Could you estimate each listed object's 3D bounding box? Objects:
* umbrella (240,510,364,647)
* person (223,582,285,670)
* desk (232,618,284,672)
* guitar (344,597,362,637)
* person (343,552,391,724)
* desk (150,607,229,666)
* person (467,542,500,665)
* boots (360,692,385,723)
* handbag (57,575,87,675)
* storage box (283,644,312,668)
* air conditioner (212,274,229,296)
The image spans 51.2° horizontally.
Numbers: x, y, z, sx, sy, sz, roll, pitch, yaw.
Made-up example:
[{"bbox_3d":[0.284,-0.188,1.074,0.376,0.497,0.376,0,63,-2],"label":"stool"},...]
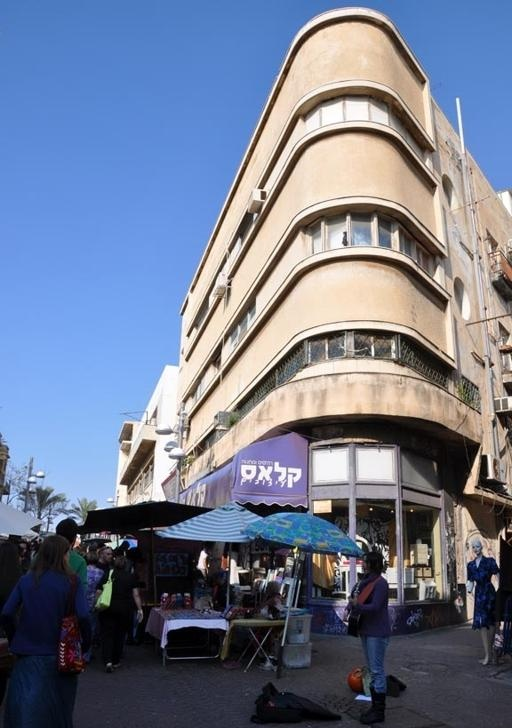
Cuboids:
[{"bbox_3d":[0.640,3.158,8.478,1.341,1.547,1.405,1,-3,38],"label":"umbrella"},{"bbox_3d":[-0.052,4.211,8.552,0.752,1.119,1.128,7,-21,-4],"label":"person"},{"bbox_3d":[0.046,4.575,8.626,0.519,0.639,1.017,-1,-33,0],"label":"desk"},{"bbox_3d":[1.033,2.725,5.655,0.097,0.471,0.237,-3,24,7],"label":"guitar"},{"bbox_3d":[1.146,2.731,5.427,0.418,1.567,0.751,1,-17,10],"label":"person"},{"bbox_3d":[-1.208,4.609,9.217,1.276,0.845,2.982,6,-18,-7],"label":"desk"},{"bbox_3d":[3.631,3.810,8.512,0.476,1.819,0.655,-3,-18,22],"label":"person"},{"bbox_3d":[1.123,3.282,5.077,0.249,0.315,0.256,6,-24,1],"label":"boots"},{"bbox_3d":[-1.083,1.533,3.129,0.142,0.571,0.244,-5,-41,-10],"label":"handbag"},{"bbox_3d":[0.638,4.501,8.353,0.347,0.284,0.369,2,-15,-6],"label":"storage box"},{"bbox_3d":[-1.671,-3.922,25.866,0.586,1.152,1.303,8,-18,-14],"label":"air conditioner"}]
